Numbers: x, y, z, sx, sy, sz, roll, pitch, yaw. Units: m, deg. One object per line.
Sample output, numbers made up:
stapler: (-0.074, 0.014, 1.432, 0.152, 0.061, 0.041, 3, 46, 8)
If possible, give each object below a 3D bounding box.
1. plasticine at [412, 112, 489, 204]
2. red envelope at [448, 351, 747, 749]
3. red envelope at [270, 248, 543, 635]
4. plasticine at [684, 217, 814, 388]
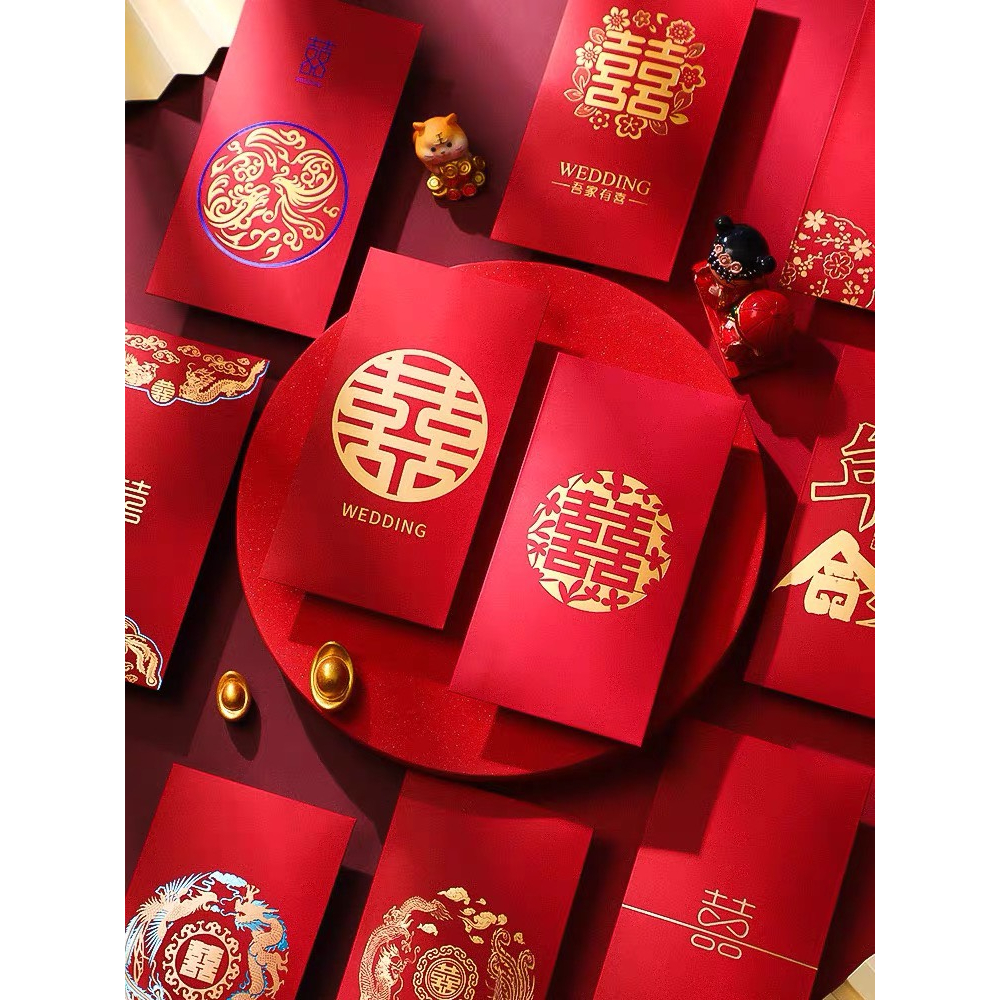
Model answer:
plasticine: (-0.109, -0.658, 1.948, 0.114, 0.142, 0.161, -16, 53, 16)
red envelope: (0.161, 0.074, 1.747, 0.320, 0.404, 0.442, 17, 41, 10)
red envelope: (-0.163, -0.110, 1.815, 0.379, 0.153, 0.674, 15, 85, 8)
plasticine: (0.431, -0.337, 1.808, 0.196, 0.122, 0.290, -12, 88, 6)
